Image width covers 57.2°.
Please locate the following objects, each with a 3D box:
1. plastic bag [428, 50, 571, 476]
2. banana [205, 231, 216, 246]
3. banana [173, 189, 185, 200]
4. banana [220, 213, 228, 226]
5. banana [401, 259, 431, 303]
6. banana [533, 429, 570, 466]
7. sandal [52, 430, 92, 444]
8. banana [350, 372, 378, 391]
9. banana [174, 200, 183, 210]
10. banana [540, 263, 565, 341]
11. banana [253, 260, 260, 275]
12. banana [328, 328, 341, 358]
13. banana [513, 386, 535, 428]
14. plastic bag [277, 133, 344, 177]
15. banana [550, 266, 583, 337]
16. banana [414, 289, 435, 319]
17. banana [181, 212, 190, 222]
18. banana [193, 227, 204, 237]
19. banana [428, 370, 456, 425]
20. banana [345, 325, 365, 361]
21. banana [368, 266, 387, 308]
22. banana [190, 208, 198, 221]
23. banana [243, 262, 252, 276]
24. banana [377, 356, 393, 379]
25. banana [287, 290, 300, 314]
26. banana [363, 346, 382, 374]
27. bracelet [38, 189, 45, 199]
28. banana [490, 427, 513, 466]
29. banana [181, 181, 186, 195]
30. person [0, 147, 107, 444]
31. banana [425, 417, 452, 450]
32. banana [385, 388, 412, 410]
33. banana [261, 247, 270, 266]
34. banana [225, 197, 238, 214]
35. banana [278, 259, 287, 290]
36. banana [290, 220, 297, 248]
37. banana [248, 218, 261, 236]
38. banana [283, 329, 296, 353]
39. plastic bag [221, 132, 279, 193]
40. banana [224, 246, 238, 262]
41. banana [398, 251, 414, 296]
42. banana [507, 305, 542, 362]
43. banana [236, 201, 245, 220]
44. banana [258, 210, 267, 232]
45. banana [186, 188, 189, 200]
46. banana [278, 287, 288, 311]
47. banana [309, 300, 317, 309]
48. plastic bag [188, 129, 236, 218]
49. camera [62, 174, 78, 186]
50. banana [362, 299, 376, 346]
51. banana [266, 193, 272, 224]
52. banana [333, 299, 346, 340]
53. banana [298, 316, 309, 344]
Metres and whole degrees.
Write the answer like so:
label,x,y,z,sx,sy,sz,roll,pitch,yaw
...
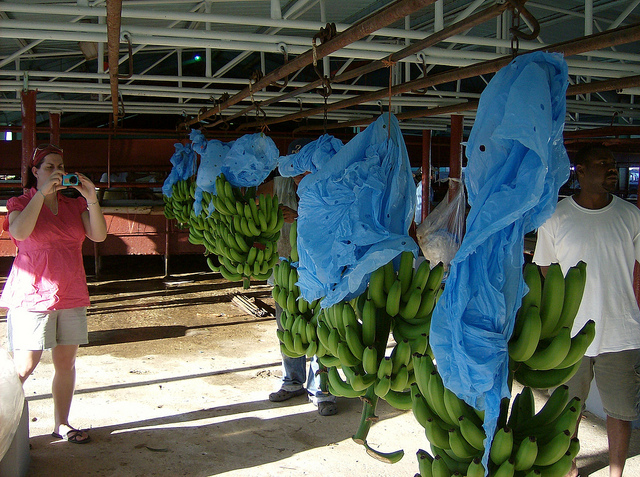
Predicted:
label,x,y,z,sx,sy,sz,roll,pitch,yaw
plastic bag,0.851,0.113,2.817,0.456,1.984,0.542,7,10,42
banana,-1.053,-0.001,5.699,0.066,0.184,0.050,-27,-27,-17
banana,-1.673,-0.494,6.969,0.079,0.054,0.300,-34,35,-12
banana,-0.862,-0.177,5.272,0.040,0.150,0.029,-9,-19,-28
banana,0.532,0.248,3.288,0.047,0.230,0.075,26,-17,-15
banana,1.084,1.032,2.832,0.079,0.309,0.113,17,50,6
sandal,-2.070,1.631,4.924,0.262,0.066,0.122,3,9,18
banana,0.244,0.818,3.318,0.152,0.125,0.083,1,8,7
banana,-1.671,-0.399,6.960,0.044,0.038,0.136,-29,67,-39
banana,1.114,0.287,2.862,0.104,0.406,0.130,4,-4,-19
banana,-0.550,0.256,5.059,0.054,0.114,0.017,-2,8,-10
banana,0.085,0.597,3.416,0.062,0.186,0.049,1,2,-15
banana,1.043,0.859,3.004,0.077,0.266,0.089,17,-22,-32
plastic bag,-0.067,-0.504,4.024,0.370,0.163,0.282,-18,19,39
banana,1.168,0.295,2.862,0.105,0.424,0.142,8,-3,-21
banana,0.585,0.367,3.242,0.055,0.211,0.070,18,17,0
banana,-1.581,-0.260,6.866,0.055,0.042,0.202,-11,31,-31
banana,-1.287,-0.060,6.207,0.092,0.103,0.127,-3,9,-18
banana,0.603,0.763,2.934,0.113,0.333,0.084,-10,2,23
banana,0.193,0.592,3.288,0.063,0.240,0.082,-25,1,-17
banana,0.325,0.279,3.326,0.099,0.244,0.045,0,8,4
banana,-1.314,-0.243,6.142,0.039,0.048,0.185,32,14,-35
banana,-0.622,0.263,5.037,0.049,0.111,0.078,2,8,15
banana,0.353,0.707,3.188,0.048,0.152,0.042,-4,41,-10
banana,-0.180,0.435,3.996,0.045,0.176,0.061,-10,-6,29
banana,0.283,0.672,3.242,0.094,0.150,0.093,-2,3,-11
bracelet,-2.141,-0.337,4.556,0.018,0.085,0.024,-33,18,24
banana,0.845,0.961,2.770,0.088,0.186,0.069,14,13,7
banana,-1.581,-0.580,6.843,0.056,0.184,0.038,-7,-4,9
person,-2.162,0.495,4.829,0.809,2.454,0.676,-4,9,-28
banana,0.557,0.982,2.945,0.083,0.113,0.313,17,-16,27
banana,0.441,0.905,3.326,0.143,0.124,0.049,31,14,-10
banana,-0.472,0.153,5.092,0.035,0.135,0.045,7,4,-17
banana,-0.782,-0.283,5.157,0.037,0.147,0.053,-37,1,17
banana,-0.270,0.252,4.135,0.057,0.179,0.122,0,8,2
banana,-0.172,-0.031,3.977,0.054,0.171,0.046,3,-1,-23
banana,-0.570,-0.085,5.010,0.054,0.180,0.116,-12,23,13
banana,-0.203,0.688,3.924,0.060,0.181,0.046,-10,5,-12
plastic bag,-0.517,-0.679,5.355,0.662,0.468,0.520,-8,-2,-12
banana,-0.776,0.144,5.094,0.057,0.121,0.139,-7,11,-42
banana,0.483,0.187,3.319,0.059,0.287,0.095,6,-5,-6
banana,0.946,0.437,2.740,0.076,0.234,0.150,15,10,-5
banana,-0.692,-0.252,5.105,0.045,0.178,0.056,-13,-5,11
banana,-0.493,-0.140,5.040,0.041,0.195,0.051,-5,16,13
banana,-1.527,-0.506,6.765,0.023,0.107,0.030,1,-14,8
banana,-0.257,0.416,4.033,0.042,0.160,0.055,0,0,30
banana,-0.052,0.450,3.955,0.041,0.055,0.018,12,23,-43
plastic bag,-1.006,-0.619,5.601,0.328,0.899,0.379,18,-3,-25
camera,-1.967,-0.459,4.629,0.111,0.089,0.070,-5,9,-30
banana,0.277,0.481,3.329,0.075,0.269,0.051,0,8,4
banana,-0.444,-0.276,5.080,0.047,0.225,0.054,-2,-3,-44
banana,0.109,0.456,3.403,0.086,0.254,0.052,-2,-2,22
banana,-0.113,0.601,3.844,0.045,0.165,0.056,-8,-10,33
